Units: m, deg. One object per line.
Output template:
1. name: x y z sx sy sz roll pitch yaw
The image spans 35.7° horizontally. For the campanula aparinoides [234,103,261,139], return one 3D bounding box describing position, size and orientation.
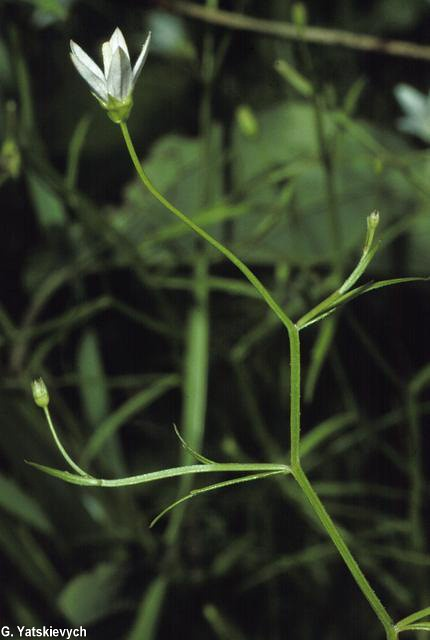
1. campanula aparinoides: 0.033 -0.208 0.697 0.024 0.031 0.009 0 -11 -3
